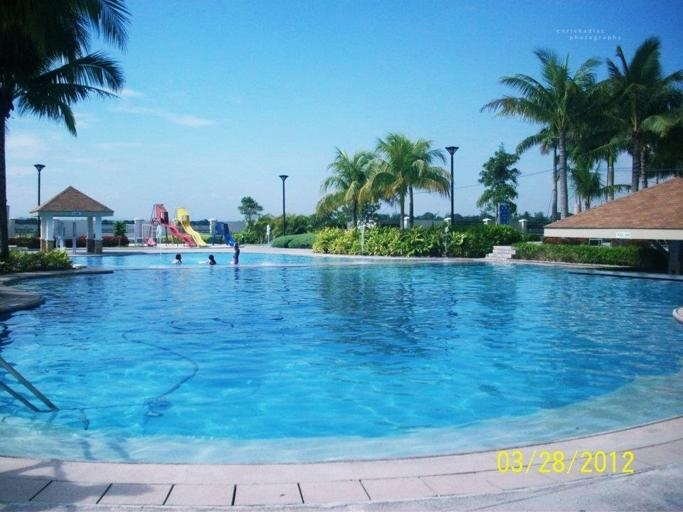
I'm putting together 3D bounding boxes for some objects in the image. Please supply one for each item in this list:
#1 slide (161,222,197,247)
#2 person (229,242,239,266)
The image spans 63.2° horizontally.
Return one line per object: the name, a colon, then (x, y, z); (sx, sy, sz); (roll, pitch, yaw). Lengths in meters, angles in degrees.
slide: (-16.503, -2.262, 56.955); (2.262, 2.087, 7.825); (-2, 5, -23)
person: (-7.060, -0.131, 36.534); (0.461, 1.671, 0.383); (6, 11, -2)
